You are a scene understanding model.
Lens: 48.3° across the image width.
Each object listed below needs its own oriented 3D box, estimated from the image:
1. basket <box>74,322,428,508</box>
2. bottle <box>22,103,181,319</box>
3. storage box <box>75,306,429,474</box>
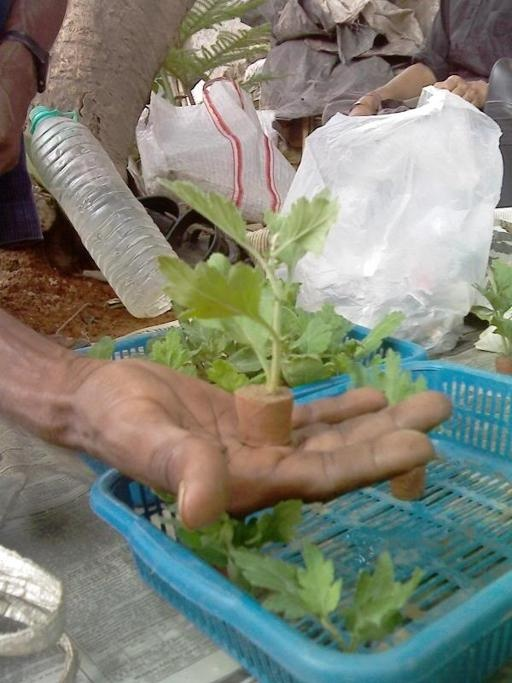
[{"bbox_3d":[0.023,0.038,0.848,0.424,0.174,0.308,-11,20,-35],"label":"basket"},{"bbox_3d":[-0.412,-0.384,1.530,0.226,0.190,0.689,-24,74,-32],"label":"bottle"},{"bbox_3d":[-0.043,-0.013,0.897,0.464,0.194,0.347,-11,21,-33],"label":"storage box"}]
